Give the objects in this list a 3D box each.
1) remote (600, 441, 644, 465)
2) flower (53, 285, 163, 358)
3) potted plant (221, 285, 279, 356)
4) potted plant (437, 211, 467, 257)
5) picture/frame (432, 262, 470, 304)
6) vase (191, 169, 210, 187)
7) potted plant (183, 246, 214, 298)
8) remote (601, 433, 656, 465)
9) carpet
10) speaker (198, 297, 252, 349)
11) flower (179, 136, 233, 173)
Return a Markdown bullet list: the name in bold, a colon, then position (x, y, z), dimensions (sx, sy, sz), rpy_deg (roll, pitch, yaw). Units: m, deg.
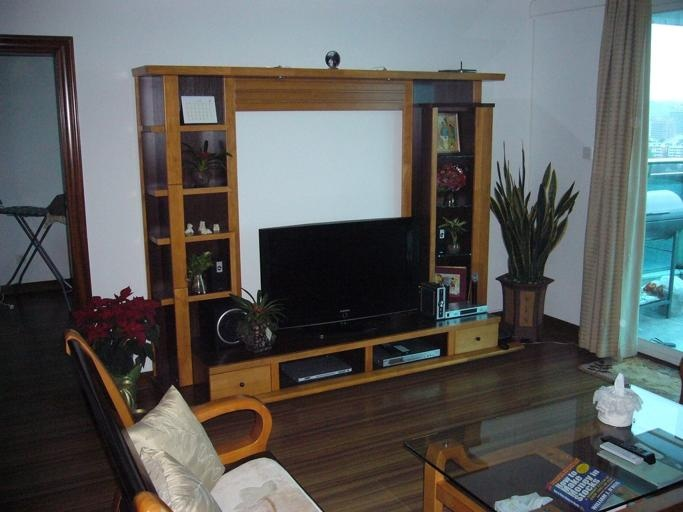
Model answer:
- **remote**: position (1.426, 1.001, 2.651), dimensions (0.077, 0.019, 0.132), rpy_deg (-12, 20, -38)
- **flower**: position (-1.483, 0.485, 3.505), dimensions (0.549, 0.435, 0.596), rpy_deg (-9, 9, 3)
- **potted plant**: position (-0.635, 0.455, 4.046), dimensions (0.417, 0.477, 0.455), rpy_deg (4, 6, 15)
- **potted plant**: position (1.011, -0.223, 4.799), dimensions (0.352, 0.476, 0.240), rpy_deg (-1, 8, -8)
- **picture/frame**: position (1.015, 0.254, 4.863), dimensions (0.303, 0.362, 0.035), rpy_deg (3, 29, 22)
- **vase**: position (-1.065, -0.595, 3.966), dimensions (0.116, 0.134, 0.121), rpy_deg (2, 15, 4)
- **potted plant**: position (-1.099, 0.119, 4.028), dimensions (0.209, 0.326, 0.201), rpy_deg (0, 5, -1)
- **remote**: position (1.468, 0.994, 2.660), dimensions (0.097, 0.036, 0.142), rpy_deg (-9, 18, -38)
- **carpet**: position (2.472, 0.980, 4.283), dimensions (0.390, 0.023, 0.451), rpy_deg (-9, 16, -24)
- **speaker**: position (-0.888, 0.486, 4.032), dimensions (0.336, 0.373, 0.349), rpy_deg (-5, 13, -29)
- **flower**: position (-1.036, -0.757, 3.962), dimensions (0.309, 0.193, 0.278), rpy_deg (4, 1, -31)
